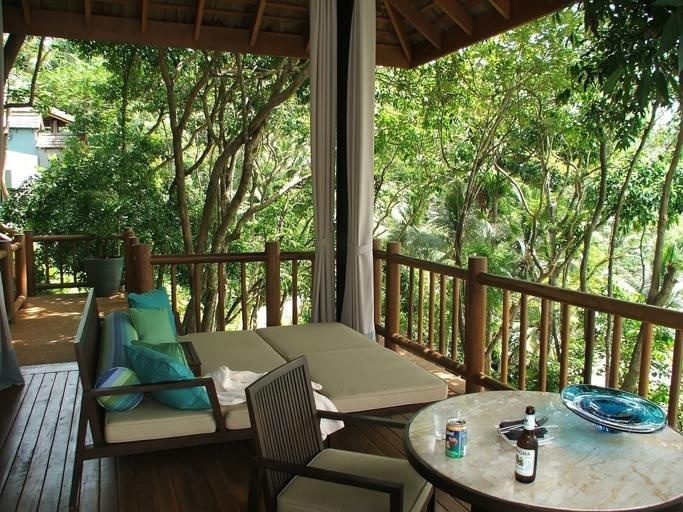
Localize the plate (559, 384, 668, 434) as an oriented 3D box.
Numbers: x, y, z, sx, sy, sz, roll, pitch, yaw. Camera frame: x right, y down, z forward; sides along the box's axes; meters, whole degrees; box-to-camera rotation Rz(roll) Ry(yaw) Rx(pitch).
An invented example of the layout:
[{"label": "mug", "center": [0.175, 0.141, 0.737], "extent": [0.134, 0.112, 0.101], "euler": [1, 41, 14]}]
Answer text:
[{"label": "plate", "center": [1.132, 0.640, 2.100], "extent": [0.227, 0.057, 0.233], "euler": [4, 10, 1]}]

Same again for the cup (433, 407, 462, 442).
[{"label": "cup", "center": [0.432, 0.692, 2.079], "extent": [0.106, 0.100, 0.123], "euler": [0, 0, -5]}]

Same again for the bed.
[{"label": "bed", "center": [-0.557, 0.812, 3.216], "extent": [1.622, 0.738, 1.535], "euler": [-3, 8, -18]}]

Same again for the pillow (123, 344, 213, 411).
[{"label": "pillow", "center": [-0.967, 0.673, 2.800], "extent": [0.463, 0.369, 0.297], "euler": [2, 3, -14]}]

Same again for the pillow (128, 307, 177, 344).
[{"label": "pillow", "center": [-1.264, 0.456, 3.295], "extent": [0.185, 0.226, 0.118], "euler": [-9, -28, -25]}]

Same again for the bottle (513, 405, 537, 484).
[{"label": "bottle", "center": [0.677, 0.663, 1.823], "extent": [0.076, 0.250, 0.205], "euler": [4, 4, 22]}]

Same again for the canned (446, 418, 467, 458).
[{"label": "canned", "center": [0.429, 0.690, 1.882], "extent": [0.085, 0.153, 0.095], "euler": [5, 13, 34]}]
